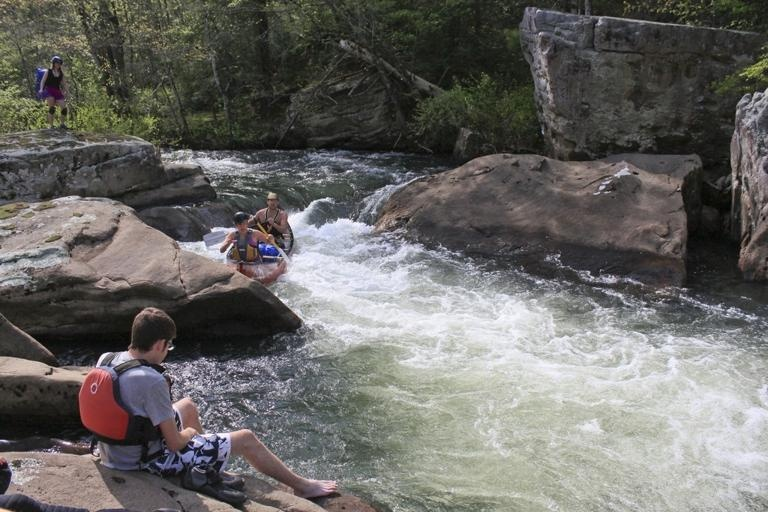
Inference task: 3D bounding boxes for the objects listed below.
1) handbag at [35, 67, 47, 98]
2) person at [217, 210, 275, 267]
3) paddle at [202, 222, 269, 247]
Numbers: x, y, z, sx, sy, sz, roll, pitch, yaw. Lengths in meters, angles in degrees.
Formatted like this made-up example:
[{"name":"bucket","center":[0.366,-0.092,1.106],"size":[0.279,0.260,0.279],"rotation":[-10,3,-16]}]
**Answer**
[{"name":"handbag","center":[-8.757,-4.383,19.224],"size":[0.319,0.757,0.723],"rotation":[-8,16,-22]},{"name":"person","center":[-3.264,-0.376,17.973],"size":[1.338,1.569,0.833],"rotation":[-7,2,-6]},{"name":"paddle","center":[-3.581,-0.507,18.217],"size":[1.025,0.297,0.308],"rotation":[-18,28,-8]}]
